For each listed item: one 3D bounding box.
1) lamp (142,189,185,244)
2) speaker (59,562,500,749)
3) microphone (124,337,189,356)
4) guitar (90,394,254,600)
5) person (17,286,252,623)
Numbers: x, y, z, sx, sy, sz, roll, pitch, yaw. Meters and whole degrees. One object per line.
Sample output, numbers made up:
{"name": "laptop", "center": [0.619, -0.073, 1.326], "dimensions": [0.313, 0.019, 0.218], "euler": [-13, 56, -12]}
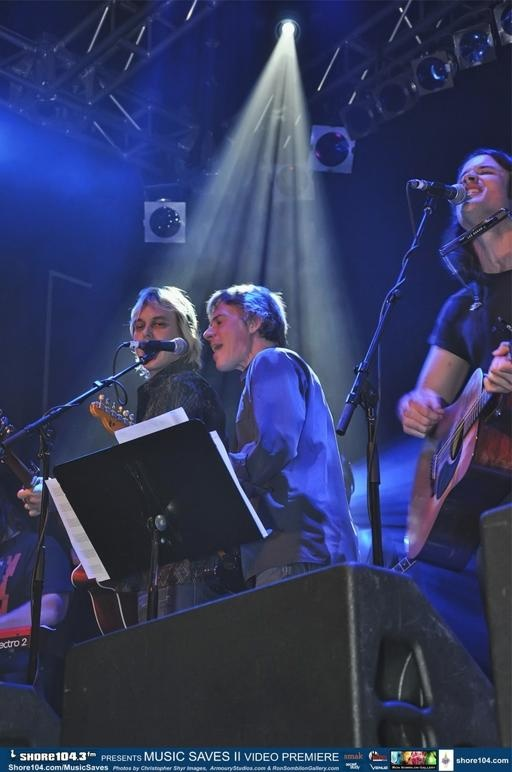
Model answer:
{"name": "lamp", "center": [-0.653, -1.179, 6.120], "dimensions": [0.312, 0.319, 0.280], "euler": [-4, -17, 4]}
{"name": "speaker", "center": [0.075, 0.636, 1.598], "dimensions": [0.664, 0.313, 0.489], "euler": [-26, -41, 36]}
{"name": "microphone", "center": [-0.409, -0.181, 3.722], "dimensions": [0.336, 0.091, 0.095], "euler": [-4, 6, -43]}
{"name": "guitar", "center": [-0.326, 0.244, 3.172], "dimensions": [0.144, 1.000, 0.495], "euler": [-4, -14, -29]}
{"name": "person", "center": [-0.311, 0.275, 3.758], "dimensions": [0.231, 1.393, 0.686], "euler": [1, 26, 29]}
